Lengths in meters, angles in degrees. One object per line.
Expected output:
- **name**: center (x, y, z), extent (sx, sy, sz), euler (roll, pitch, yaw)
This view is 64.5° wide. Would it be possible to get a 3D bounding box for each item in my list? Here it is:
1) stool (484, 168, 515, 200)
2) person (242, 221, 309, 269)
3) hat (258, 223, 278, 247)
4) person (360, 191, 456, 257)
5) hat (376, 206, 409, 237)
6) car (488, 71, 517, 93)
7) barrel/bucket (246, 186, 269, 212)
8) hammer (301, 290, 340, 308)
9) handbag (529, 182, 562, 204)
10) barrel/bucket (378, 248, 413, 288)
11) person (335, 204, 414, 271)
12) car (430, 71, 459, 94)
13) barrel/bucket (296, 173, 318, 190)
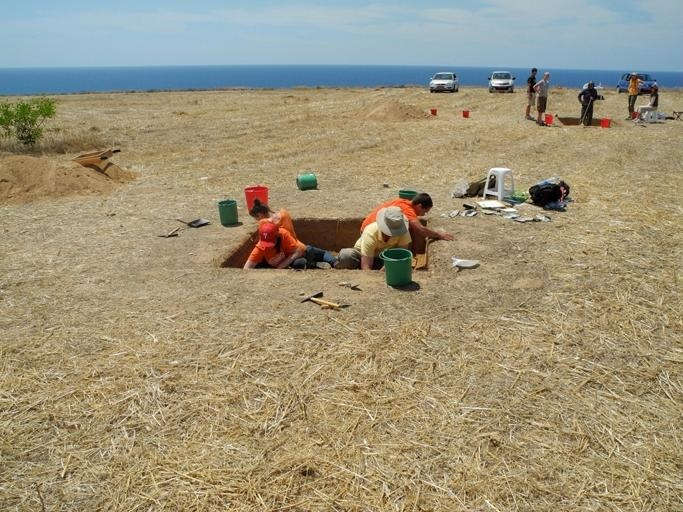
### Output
- **stool**: center (2.752, -1.281, 9.461), extent (0.511, 0.521, 0.793), euler (3, 19, 13)
- **person**: center (-0.914, -0.144, 7.363), extent (0.464, 0.668, 0.914), euler (9, 22, 27)
- **hat**: center (-0.967, -0.275, 7.327), extent (0.294, 0.201, 0.322), euler (3, 54, -1)
- **person**: center (0.932, -0.418, 7.732), extent (1.503, 0.836, 0.697), euler (3, 16, 4)
- **hat**: center (0.654, -0.451, 7.037), extent (0.479, 0.141, 0.368), euler (-4, 65, -17)
- **car**: center (8.992, -9.789, 30.513), extent (1.589, 0.939, 2.285), euler (2, 19, 15)
- **barrel/bucket**: center (-1.407, -0.985, 9.290), extent (0.568, 0.381, 0.484), euler (-1, 11, -2)
- **hammer**: center (-0.258, 0.502, 6.160), extent (0.324, 0.085, 0.509), euler (-12, 20, -32)
- **handbag**: center (3.356, -1.066, 9.010), extent (0.518, 0.408, 0.314), euler (-14, 40, -3)
- **barrel/bucket**: center (0.652, 0.132, 6.493), extent (0.364, 0.417, 0.356), euler (-2, 21, 1)
- **person**: center (0.424, -0.199, 7.393), extent (1.087, 1.004, 0.779), euler (-1, 26, -10)
- **car**: center (5.904, -9.976, 31.165), extent (1.406, 0.782, 2.113), euler (4, 22, 15)
- **barrel/bucket**: center (-0.667, -1.414, 10.383), extent (0.377, 0.278, 0.319), euler (-3, 20, -1)
